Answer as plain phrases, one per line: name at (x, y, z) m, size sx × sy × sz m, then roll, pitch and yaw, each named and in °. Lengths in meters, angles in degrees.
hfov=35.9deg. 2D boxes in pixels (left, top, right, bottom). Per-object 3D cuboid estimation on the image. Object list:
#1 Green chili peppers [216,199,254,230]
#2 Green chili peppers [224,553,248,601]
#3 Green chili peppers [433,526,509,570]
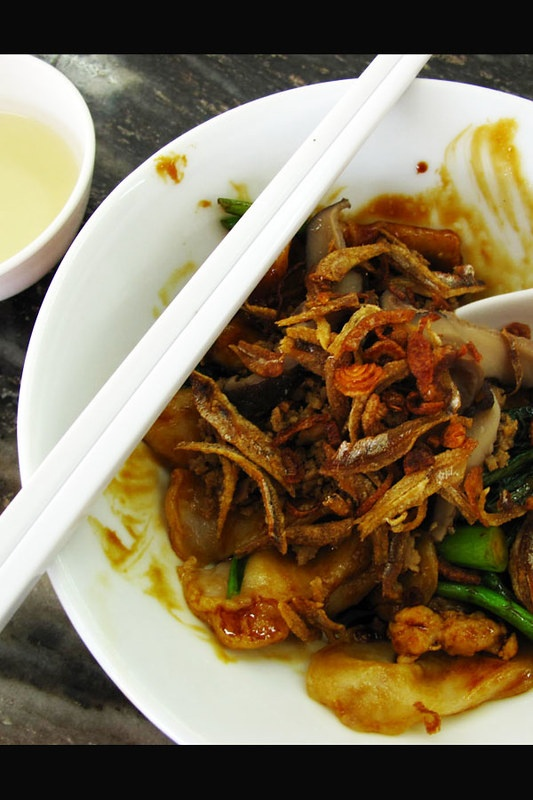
Green chili peppers at (-0.054, -0.379, 1.688) m, size 0.027 × 0.065 × 0.080 m, roll 10°, pitch -11°, yaw -41°
Green chili peppers at (-0.060, 0.338, 1.580) m, size 0.028 × 0.019 × 0.090 m, roll 0°, pitch 28°, yaw -3°
Green chili peppers at (0.401, 0.293, 1.634) m, size 0.114 × 0.084 × 0.079 m, roll -13°, pitch 48°, yaw 39°
